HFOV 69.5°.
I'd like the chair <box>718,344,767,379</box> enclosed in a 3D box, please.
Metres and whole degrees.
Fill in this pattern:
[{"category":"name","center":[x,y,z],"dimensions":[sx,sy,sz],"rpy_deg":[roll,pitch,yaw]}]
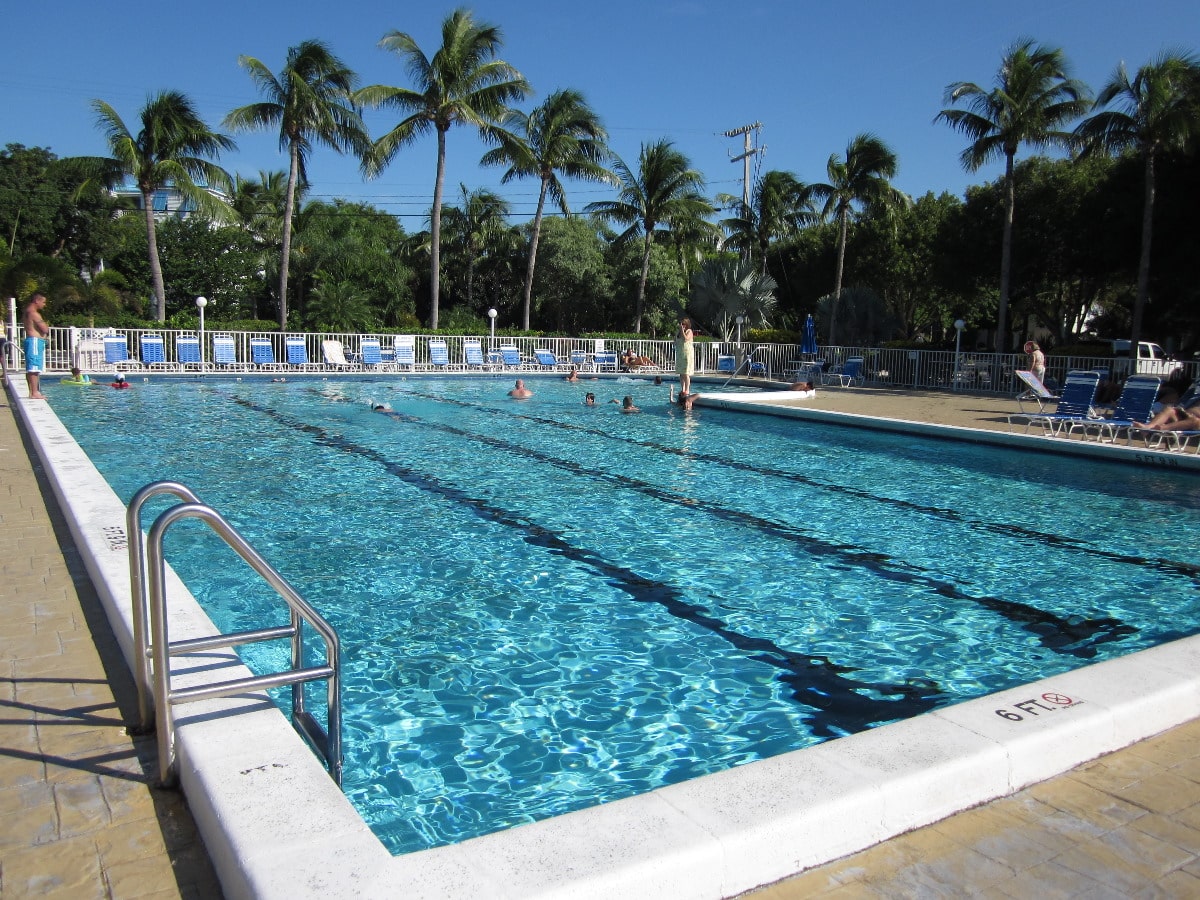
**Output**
[{"category":"chair","center":[4.568,-2.949,28.023],"dimensions":[1.319,0.858,1.325],"rpy_deg":[-4,13,-18]}]

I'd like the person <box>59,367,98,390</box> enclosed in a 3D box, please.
[{"category":"person","center":[-12.118,-1.702,20.259],"dimensions":[0.838,0.545,0.864],"rpy_deg":[2,3,-1]}]
